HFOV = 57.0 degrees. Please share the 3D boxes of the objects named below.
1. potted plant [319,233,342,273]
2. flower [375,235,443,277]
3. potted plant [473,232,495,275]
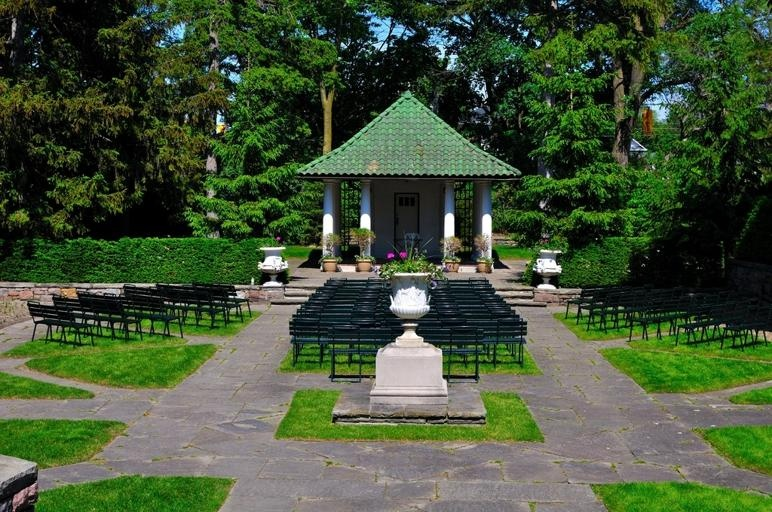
[{"bbox_3d":[-2.445,-0.175,30.943,0.799,1.541,1.701,1,11,7],"label":"potted plant"},{"bbox_3d":[0.579,0.100,16.703,1.629,1.052,2.287,0,0,2],"label":"flower"},{"bbox_3d":[4.246,-0.105,30.804,0.709,1.571,1.607,1,11,8],"label":"potted plant"}]
